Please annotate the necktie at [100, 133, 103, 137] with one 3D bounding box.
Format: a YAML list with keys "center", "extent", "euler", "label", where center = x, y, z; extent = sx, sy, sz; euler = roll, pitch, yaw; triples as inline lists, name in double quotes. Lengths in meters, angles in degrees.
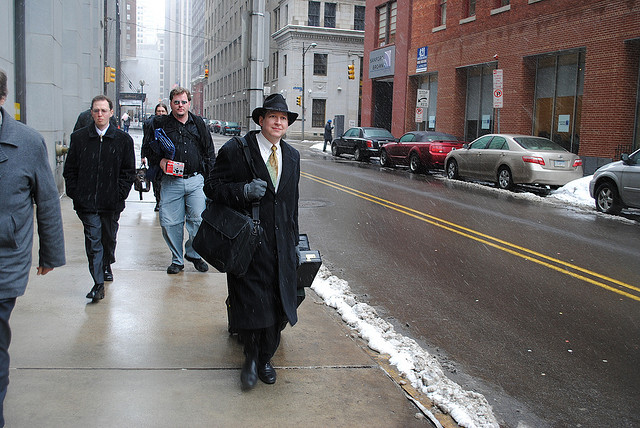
- center: [-2.739, -0.986, 5.634]
  extent: [0.036, 0.039, 0.009]
  euler: [19, -7, 3]
  label: "necktie"

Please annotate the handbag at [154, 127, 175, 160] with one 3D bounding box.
- center: [-2.267, -0.958, 6.345]
  extent: [0.327, 0.144, 0.412]
  euler: [-9, 49, -9]
  label: "handbag"

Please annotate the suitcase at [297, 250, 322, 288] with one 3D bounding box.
- center: [-0.112, 0.571, 4.468]
  extent: [0.211, 0.417, 0.357]
  euler: [2, 11, 0]
  label: "suitcase"

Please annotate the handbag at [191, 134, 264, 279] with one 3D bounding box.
- center: [-0.799, 0.183, 3.843]
  extent: [0.571, 0.666, 0.317]
  euler: [7, 11, 21]
  label: "handbag"

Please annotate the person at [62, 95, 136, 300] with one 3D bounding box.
- center: [-2.748, -0.239, 5.741]
  extent: [0.791, 2.431, 0.641]
  euler: [-7, 13, -43]
  label: "person"

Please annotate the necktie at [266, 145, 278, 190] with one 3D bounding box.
- center: [-0.415, -0.419, 3.951]
  extent: [0.096, 0.343, 0.100]
  euler: [-3, 11, -27]
  label: "necktie"

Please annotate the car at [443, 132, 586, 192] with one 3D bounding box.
- center: [7.284, -1.960, 17.704]
  extent: [2.279, 1.849, 5.294]
  euler: [1, 11, -18]
  label: "car"

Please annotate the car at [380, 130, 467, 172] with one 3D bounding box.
- center: [4.912, -3.189, 22.612]
  extent: [1.903, 1.481, 4.126]
  euler: [-3, 12, -21]
  label: "car"
